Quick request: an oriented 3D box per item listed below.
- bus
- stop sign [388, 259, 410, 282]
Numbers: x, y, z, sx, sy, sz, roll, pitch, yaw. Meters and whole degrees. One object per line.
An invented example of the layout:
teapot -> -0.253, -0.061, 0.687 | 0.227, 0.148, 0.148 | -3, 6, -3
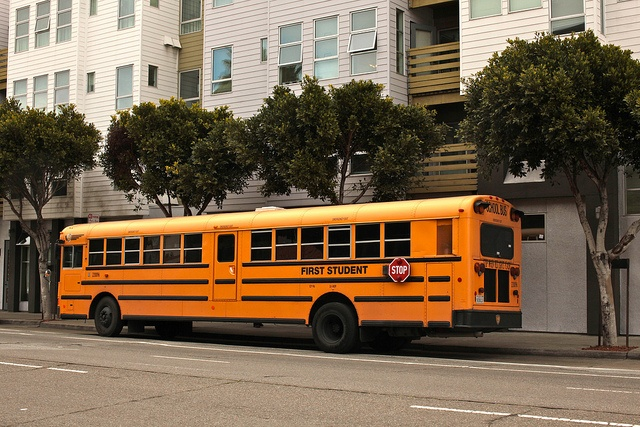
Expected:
bus -> -1.733, 2.283, 28.740 | 16.724, 4.771, 3.073 | -5, -7, 26
stop sign -> 2.408, 1.702, 25.247 | 0.576, 0.666, 0.085 | 10, -1, 23
